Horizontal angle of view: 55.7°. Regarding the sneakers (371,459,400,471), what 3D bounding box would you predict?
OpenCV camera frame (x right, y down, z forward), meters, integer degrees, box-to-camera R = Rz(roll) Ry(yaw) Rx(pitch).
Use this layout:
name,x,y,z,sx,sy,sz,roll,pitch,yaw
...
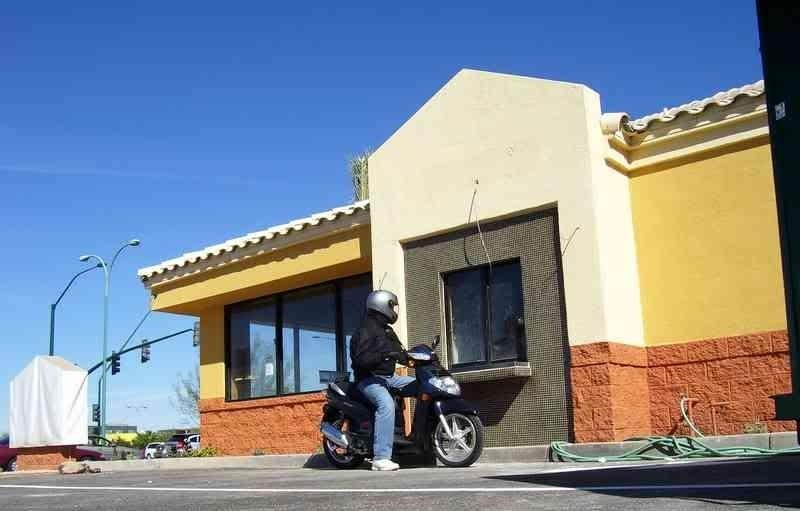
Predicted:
name,x,y,z,sx,sy,sz,roll,pitch,yaw
sneakers,-0.213,2.965,10.711,0.356,0.152,0.154,-1,-13,14

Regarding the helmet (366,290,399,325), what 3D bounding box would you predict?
name,x,y,z,sx,sy,sz,roll,pitch,yaw
helmet,-0.279,0.785,11.653,0.571,0.536,0.453,8,-4,-21

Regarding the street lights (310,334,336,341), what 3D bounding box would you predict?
name,x,y,z,sx,sy,sz,roll,pitch,yaw
street lights,-1.764,1.882,17.449,0.401,0.042,0.160,2,19,35
